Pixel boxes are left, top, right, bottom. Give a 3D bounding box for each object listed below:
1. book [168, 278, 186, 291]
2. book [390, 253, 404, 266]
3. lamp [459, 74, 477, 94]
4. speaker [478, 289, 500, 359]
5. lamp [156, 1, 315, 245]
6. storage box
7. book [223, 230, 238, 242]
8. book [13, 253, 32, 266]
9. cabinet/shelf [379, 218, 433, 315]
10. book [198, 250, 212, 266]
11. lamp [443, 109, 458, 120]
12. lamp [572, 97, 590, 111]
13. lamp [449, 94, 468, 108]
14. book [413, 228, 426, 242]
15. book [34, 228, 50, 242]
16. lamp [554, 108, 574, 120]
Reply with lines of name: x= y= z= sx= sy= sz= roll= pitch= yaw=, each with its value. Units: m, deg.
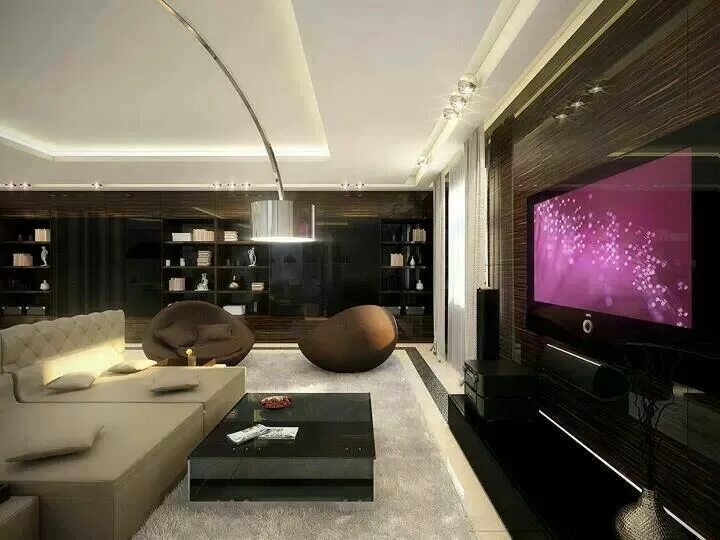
book: x=-2.688 y=0.224 z=7.559 sx=0.175 sy=0.241 sz=0.245 roll=1 pitch=-2 yaw=-27
book: x=0.558 y=-0.146 z=7.544 sx=0.211 sy=0.209 sz=0.151 roll=1 pitch=5 yaw=6
lamp: x=0.868 y=-1.482 z=4.116 sx=0.161 sy=0.115 sz=0.136 roll=-2 pitch=2 yaw=4
speaker: x=1.135 y=0.489 z=4.478 sx=0.160 sy=0.629 sz=0.125 roll=0 pitch=-20 yaw=17
lamp: x=-0.826 y=-1.041 z=4.003 sx=0.890 sy=1.663 sz=1.866 roll=-2 pitch=2 yaw=-6
storage box: x=1.075 y=0.905 z=3.907 sx=0.364 sy=0.258 sz=0.500 roll=-1 pitch=1 yaw=-3
book: x=-1.890 y=-0.489 z=7.520 sx=0.140 sy=0.098 sz=0.195 roll=-3 pitch=7 yaw=-36
book: x=-5.048 y=-0.147 z=7.655 sx=0.163 sy=0.213 sz=0.285 roll=0 pitch=2 yaw=-6
cabinet/shelf: x=0.690 y=-0.050 z=7.533 sx=0.768 sy=1.386 sz=0.332 roll=-2 pitch=2 yaw=2
book: x=-2.295 y=-0.192 z=7.621 sx=0.247 sy=0.247 sz=0.181 roll=3 pitch=4 yaw=35
lamp: x=0.800 y=-1.367 z=4.532 sx=0.076 sy=0.040 sz=0.077 roll=0 pitch=1 yaw=44
lamp: x=1.574 y=-1.173 z=3.630 sx=0.029 sy=0.063 sz=0.092 roll=-12 pitch=-11 yaw=-16
lamp: x=0.841 y=-1.420 z=4.316 sx=0.145 sy=0.059 sz=0.200 roll=-2 pitch=2 yaw=14
book: x=0.874 y=-0.515 z=7.536 sx=0.221 sy=0.219 sz=0.167 roll=1 pitch=6 yaw=7
book: x=-4.713 y=-0.485 z=7.629 sx=0.175 sy=0.243 sz=0.249 roll=0 pitch=2 yaw=-10
lamp: x=1.521 y=-1.152 z=3.817 sx=0.028 sy=0.064 sz=0.098 roll=-5 pitch=8 yaw=-7
